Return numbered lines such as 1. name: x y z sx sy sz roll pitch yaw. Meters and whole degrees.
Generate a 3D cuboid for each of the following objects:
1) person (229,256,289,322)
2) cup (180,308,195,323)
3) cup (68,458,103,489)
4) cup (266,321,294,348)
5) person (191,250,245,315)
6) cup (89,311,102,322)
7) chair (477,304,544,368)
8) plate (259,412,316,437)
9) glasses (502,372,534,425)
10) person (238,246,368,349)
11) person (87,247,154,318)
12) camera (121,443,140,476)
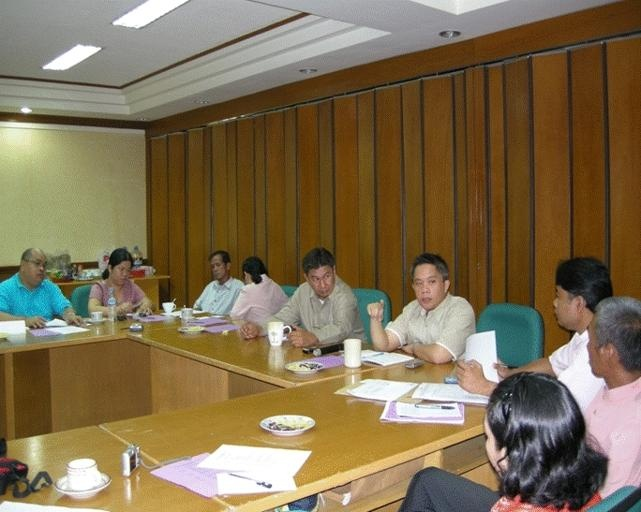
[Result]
1. person: -0.553 0.310 4.843 0.401 0.884 0.417 -7 11 -39
2. cup: -1.053 0.460 4.109 0.100 0.123 0.102 0 8 0
3. cup: -0.696 0.630 1.546 0.088 0.064 0.067 6 5 34
4. cup: -0.226 0.468 3.150 0.176 0.181 0.120 2 -3 -22
5. person: -1.103 0.270 5.696 0.711 0.745 0.418 3 2 42
6. cup: -1.817 0.491 4.210 0.094 0.070 0.063 -1 -2 6
7. chair: 1.110 0.430 3.061 0.353 0.489 0.337 2 -5 -43
8. plate: -0.123 0.635 1.976 0.189 0.029 0.186 4 7 34
9. glasses: 0.504 0.365 1.371 0.090 0.120 0.118 6 5 25
10. person: -0.083 0.270 3.636 0.581 0.735 0.783 3 5 45
11. person: -1.790 0.407 4.707 0.559 0.914 0.646 0 3 -30
12. camera: -0.610 0.659 1.677 0.023 0.064 0.068 -2 1 8
